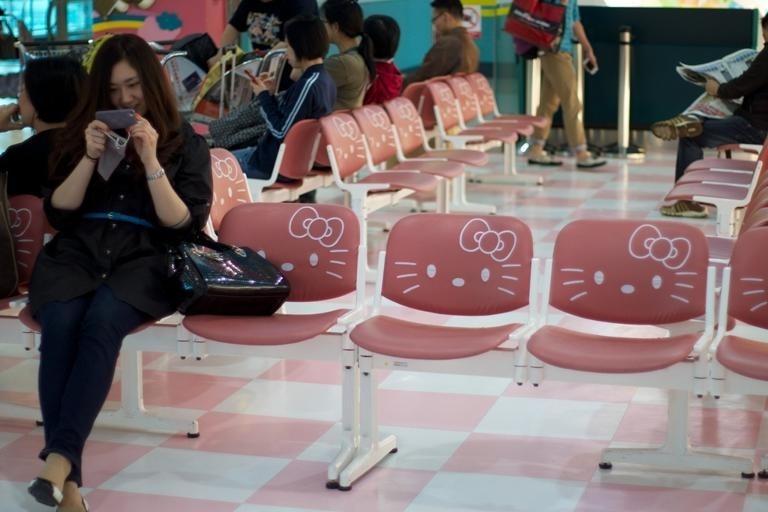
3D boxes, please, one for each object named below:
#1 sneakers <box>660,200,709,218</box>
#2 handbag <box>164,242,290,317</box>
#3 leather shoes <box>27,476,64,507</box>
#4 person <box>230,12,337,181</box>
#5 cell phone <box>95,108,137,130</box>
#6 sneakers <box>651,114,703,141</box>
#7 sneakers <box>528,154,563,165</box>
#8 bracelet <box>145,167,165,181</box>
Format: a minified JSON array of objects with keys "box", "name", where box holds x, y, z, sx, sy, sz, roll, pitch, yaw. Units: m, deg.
[{"box":[2.708,-0.407,5.844,0.290,0.114,0.156,7,3,7],"name":"sneakers"},{"box":[-0.706,0.097,2.835,0.481,0.211,0.521,5,20,-38],"name":"handbag"},{"box":[-1.132,0.795,2.217,0.086,0.114,0.037,-20,32,44],"name":"leather shoes"},{"box":[-0.863,-1.176,4.819,0.988,1.195,0.668,8,24,-4],"name":"person"},{"box":[-1.038,-0.523,2.524,0.149,0.071,0.074,-8,17,-19],"name":"cell phone"},{"box":[2.717,-1.169,6.026,0.360,0.146,0.207,0,9,21],"name":"sneakers"},{"box":[2.071,-1.211,8.335,0.428,0.148,0.163,2,19,13],"name":"sneakers"},{"box":[-0.922,-0.319,2.633,0.055,0.056,0.058,-6,-6,-29],"name":"bracelet"}]
